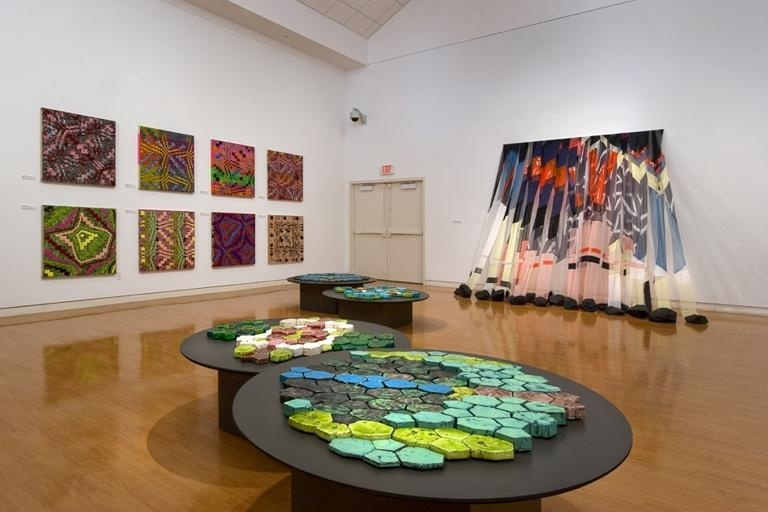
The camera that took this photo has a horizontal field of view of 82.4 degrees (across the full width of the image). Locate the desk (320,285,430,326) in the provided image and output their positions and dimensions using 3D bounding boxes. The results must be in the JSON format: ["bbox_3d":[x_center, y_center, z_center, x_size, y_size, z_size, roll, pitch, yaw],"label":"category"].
[{"bbox_3d":[-0.147,0.739,6.520,1.612,0.458,1.415,1,-7,23],"label":"desk"}]

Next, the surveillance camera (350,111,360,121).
[{"bbox_3d":[-0.762,-3.562,11.170,0.253,0.263,0.342,-8,13,-38],"label":"surveillance camera"}]

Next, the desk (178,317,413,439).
[{"bbox_3d":[-1.059,0.879,3.997,1.195,0.409,1.206,12,14,43],"label":"desk"}]

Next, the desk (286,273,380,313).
[{"bbox_3d":[-1.003,0.549,7.375,0.879,0.355,0.869,2,5,18],"label":"desk"}]
